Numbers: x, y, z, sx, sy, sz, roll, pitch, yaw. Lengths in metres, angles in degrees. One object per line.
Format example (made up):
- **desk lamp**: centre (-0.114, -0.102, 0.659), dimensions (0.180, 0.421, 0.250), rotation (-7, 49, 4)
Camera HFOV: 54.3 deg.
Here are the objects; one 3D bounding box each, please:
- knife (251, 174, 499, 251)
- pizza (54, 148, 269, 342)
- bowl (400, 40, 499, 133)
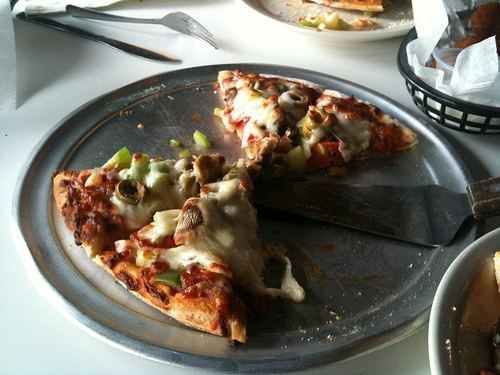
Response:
- **knife**: centre (0.395, 0.092, 1.579), dimensions (0.613, 0.083, 0.150), rotation (9, 51, 4)
- **pizza**: centre (-0.263, 0.172, 1.436), dimensions (0.601, 0.271, 0.601), rotation (-13, 82, -2)
- **bowl**: centre (0.706, -0.335, 1.837), dimensions (0.368, 0.129, 0.357), rotation (-2, 51, 3)
